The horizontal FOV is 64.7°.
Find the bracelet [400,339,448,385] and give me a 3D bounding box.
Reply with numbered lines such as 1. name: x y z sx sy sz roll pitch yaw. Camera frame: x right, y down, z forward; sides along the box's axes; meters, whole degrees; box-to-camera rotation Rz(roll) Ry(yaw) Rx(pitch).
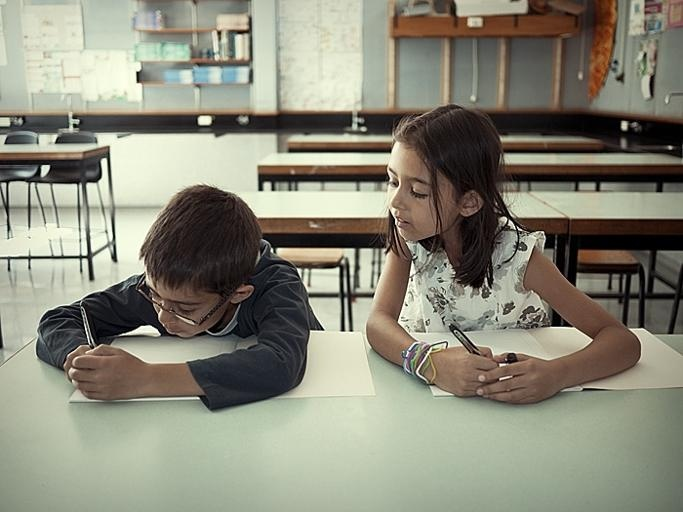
1. bracelet: 0.158 0.186 0.969 0.033 0.063 0.078 11 -5 -31

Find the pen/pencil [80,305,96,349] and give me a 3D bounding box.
1. pen/pencil: -0.494 0.142 1.050 0.016 0.068 0.017 -7 -24 -40

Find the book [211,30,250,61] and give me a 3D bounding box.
1. book: -1.208 -2.330 5.934 0.395 0.315 0.096 0 12 2

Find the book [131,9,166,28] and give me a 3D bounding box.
1. book: -2.091 -2.576 5.868 0.216 0.197 0.295 2 11 -2

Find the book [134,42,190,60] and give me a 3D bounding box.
1. book: -1.981 -2.278 5.972 0.625 0.223 0.117 0 12 5
